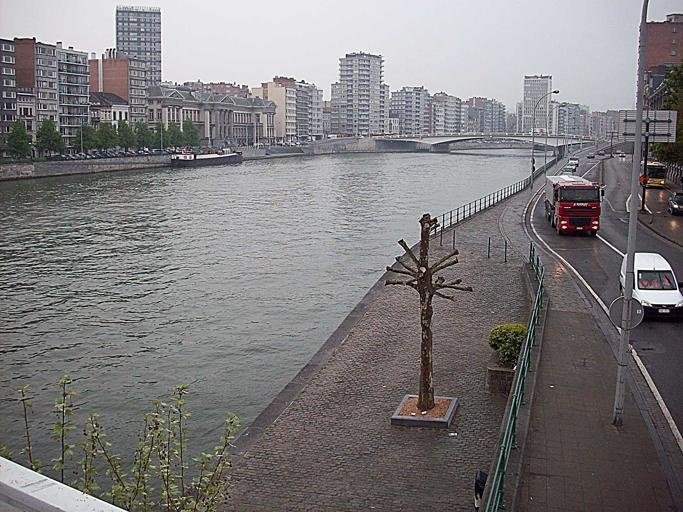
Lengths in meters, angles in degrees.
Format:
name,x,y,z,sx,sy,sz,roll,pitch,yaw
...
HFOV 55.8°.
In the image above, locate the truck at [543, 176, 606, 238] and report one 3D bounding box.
name,x,y,z,sx,sy,sz,roll,pitch,yaw
truck,16.802,-3.425,46.865,2.309,2.325,5.763,-1,13,7
